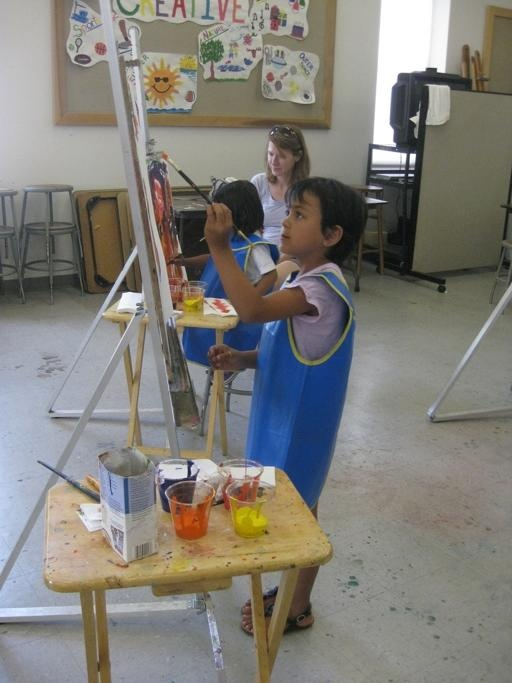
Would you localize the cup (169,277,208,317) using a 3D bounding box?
[{"bbox_3d":[-0.248,-0.162,2.194,0.091,0.095,0.136,-7,15,-29],"label":"cup"}]

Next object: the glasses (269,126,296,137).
[{"bbox_3d":[0.142,-1.133,3.255,0.127,0.053,0.179,2,19,0],"label":"glasses"}]

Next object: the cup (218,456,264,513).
[{"bbox_3d":[-0.024,0.234,0.996,0.073,0.069,0.071,-1,7,0],"label":"cup"}]

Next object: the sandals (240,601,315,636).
[{"bbox_3d":[0.056,0.728,1.576,0.184,0.057,0.121,0,12,-8],"label":"sandals"}]

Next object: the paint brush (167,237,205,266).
[{"bbox_3d":[-0.272,-0.340,2.348,0.081,0.090,0.320,6,7,29],"label":"paint brush"}]

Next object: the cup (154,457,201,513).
[{"bbox_3d":[-0.125,0.223,0.975,0.076,0.065,0.074,0,16,0],"label":"cup"}]

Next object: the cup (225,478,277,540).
[{"bbox_3d":[-0.011,0.250,0.909,0.068,0.057,0.073,-1,13,0],"label":"cup"}]

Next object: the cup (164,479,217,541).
[{"bbox_3d":[-0.098,0.241,0.903,0.076,0.057,0.076,0,12,0],"label":"cup"}]
